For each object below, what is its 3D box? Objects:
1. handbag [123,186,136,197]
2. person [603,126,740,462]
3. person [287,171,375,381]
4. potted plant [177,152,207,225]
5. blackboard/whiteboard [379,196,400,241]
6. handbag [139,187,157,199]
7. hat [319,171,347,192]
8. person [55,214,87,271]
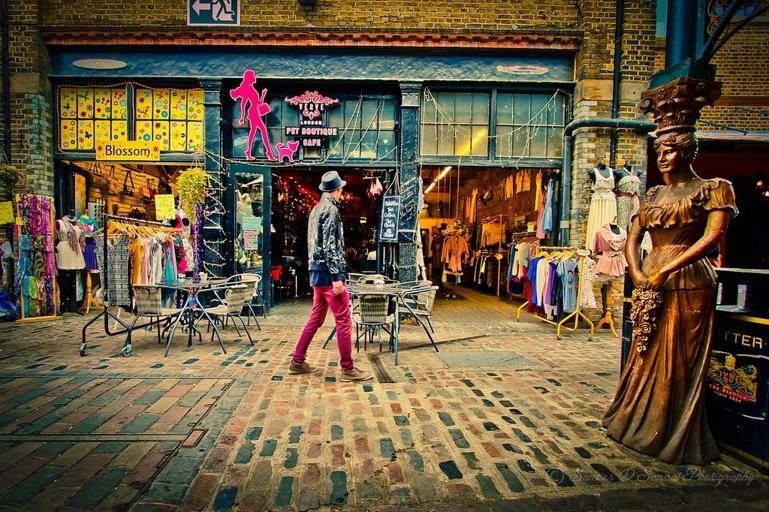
[{"bbox_3d":[-6.609,-1.661,15.319,0.171,0.292,0.311,-1,0,29],"label":"handbag"},{"bbox_3d":[3.851,0.535,7.797,1.300,4.288,1.027,6,12,22],"label":"person"},{"bbox_3d":[-0.863,0.302,9.247,1.135,3.182,0.981,-1,12,-10],"label":"person"},{"bbox_3d":[-4.082,-1.379,12.866,0.927,1.371,0.890,7,-39,-19],"label":"potted plant"},{"bbox_3d":[0.131,-0.782,12.747,0.418,1.027,0.319,3,12,7],"label":"blackboard/whiteboard"},{"bbox_3d":[-6.520,-1.742,16.279,0.284,0.214,0.462,-13,-6,27],"label":"handbag"},{"bbox_3d":[-0.780,-1.192,9.391,0.315,0.141,0.374,3,40,14],"label":"hat"},{"bbox_3d":[-6.676,-0.246,12.545,0.552,1.023,0.350,-5,13,-29],"label":"person"}]
